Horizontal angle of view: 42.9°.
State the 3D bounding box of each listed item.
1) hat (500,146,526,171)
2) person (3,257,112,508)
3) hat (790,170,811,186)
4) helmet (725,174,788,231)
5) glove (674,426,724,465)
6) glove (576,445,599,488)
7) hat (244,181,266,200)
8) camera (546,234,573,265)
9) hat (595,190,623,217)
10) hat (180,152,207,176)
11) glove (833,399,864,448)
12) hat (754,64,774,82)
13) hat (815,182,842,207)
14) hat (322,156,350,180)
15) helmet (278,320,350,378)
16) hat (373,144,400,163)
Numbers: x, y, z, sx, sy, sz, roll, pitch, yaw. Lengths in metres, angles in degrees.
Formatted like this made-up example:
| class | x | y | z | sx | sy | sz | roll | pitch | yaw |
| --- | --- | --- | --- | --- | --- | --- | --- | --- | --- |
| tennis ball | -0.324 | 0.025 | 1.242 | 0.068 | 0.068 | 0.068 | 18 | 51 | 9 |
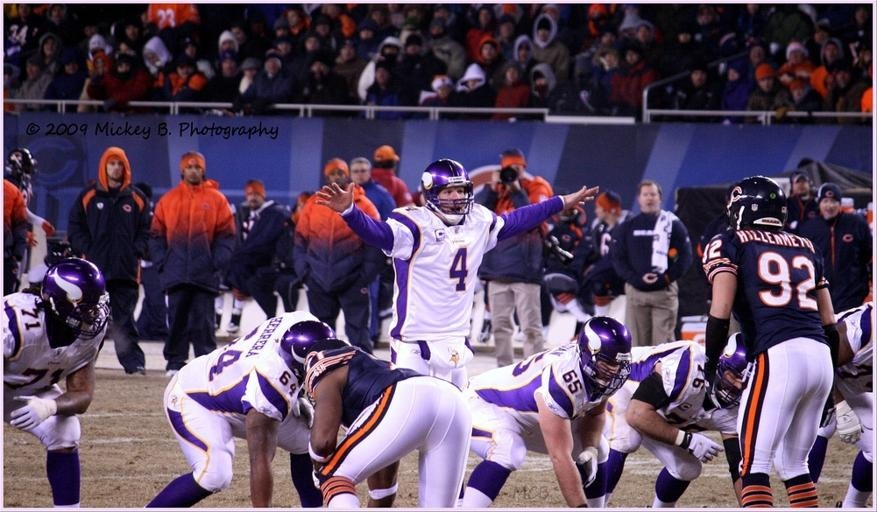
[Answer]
| class | x | y | z | sx | sy | sz | roll | pitch | yaw |
| --- | --- | --- | --- | --- | --- | --- | --- | --- | --- |
| hat | 0.958 | -1.249 | 14.368 | 0.270 | 0.278 | 0.372 | 0 | -7 | -11 |
| person | -3.762 | 1.235 | 10.795 | 0.950 | 2.450 | 0.514 | 2 | 5 | -19 |
| hat | 4.869 | -1.053 | 14.951 | 0.248 | 0.192 | 0.178 | 5 | 5 | 17 |
| helmet | 3.116 | -0.509 | 10.865 | 0.459 | 0.452 | 0.561 | 4 | 9 | 1 |
| glove | 2.565 | 1.870 | 10.988 | 0.395 | 0.281 | 0.141 | 33 | 3 | -6 |
| glove | 1.440 | 2.060 | 10.846 | 0.126 | 0.353 | 0.262 | 7 | 3 | -15 |
| hat | -2.529 | -0.908 | 15.219 | 0.248 | 0.263 | 0.189 | 3 | 5 | -12 |
| camera | 1.449 | -0.027 | 13.275 | 0.203 | 0.203 | 0.628 | 22 | 13 | -26 |
| hat | 2.355 | -0.722 | 15.302 | 0.361 | 0.268 | 0.272 | -4 | 10 | 17 |
| hat | -3.111 | -1.237 | 14.142 | 0.393 | 0.335 | 0.428 | -1 | -6 | -18 |
| glove | 4.217 | 1.723 | 11.562 | 0.226 | 0.200 | 0.432 | -13 | 4 | -2 |
| hat | 4.856 | -2.730 | 16.658 | 0.275 | 0.211 | 0.267 | -8 | 2 | -11 |
| hat | 5.013 | -0.804 | 14.330 | 0.254 | 0.285 | 0.333 | 1 | -5 | 6 |
| hat | -1.375 | -1.154 | 14.780 | 0.289 | 0.292 | 0.390 | -1 | -18 | -8 |
| helmet | -1.185 | 0.820 | 10.681 | 0.585 | 0.445 | 0.576 | -17 | -33 | 5 |
| hat | -0.746 | -1.428 | 15.555 | 0.313 | 0.168 | 0.232 | -5 | 13 | -20 |
